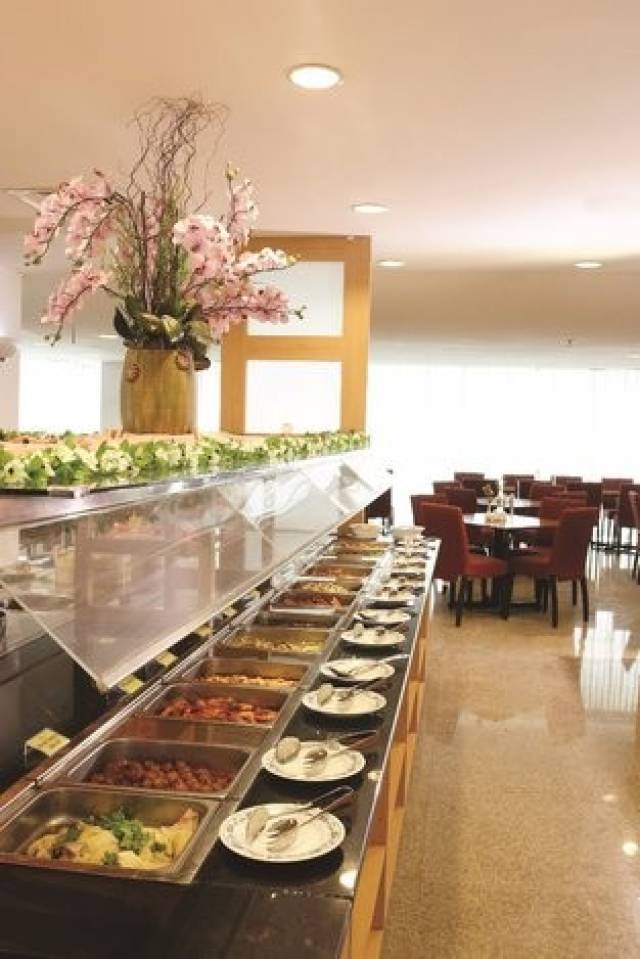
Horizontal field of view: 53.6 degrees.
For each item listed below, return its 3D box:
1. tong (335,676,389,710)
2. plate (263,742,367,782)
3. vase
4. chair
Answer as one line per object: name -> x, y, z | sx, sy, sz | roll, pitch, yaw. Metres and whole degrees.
tong -> 0.101, 0.458, 1.410 | 0.038, 0.034, 0.188 | 1, 1, 18
plate -> -0.011, 0.445, 1.008 | 0.162, 0.021, 0.144 | 1, 1, -10
vase -> -0.336, -0.195, 1.450 | 0.174, 0.181, 0.176 | -5, 4, -8
chair -> 1.622, 0.575, 5.582 | 1.306, 0.878, 1.333 | 1, 3, 26
